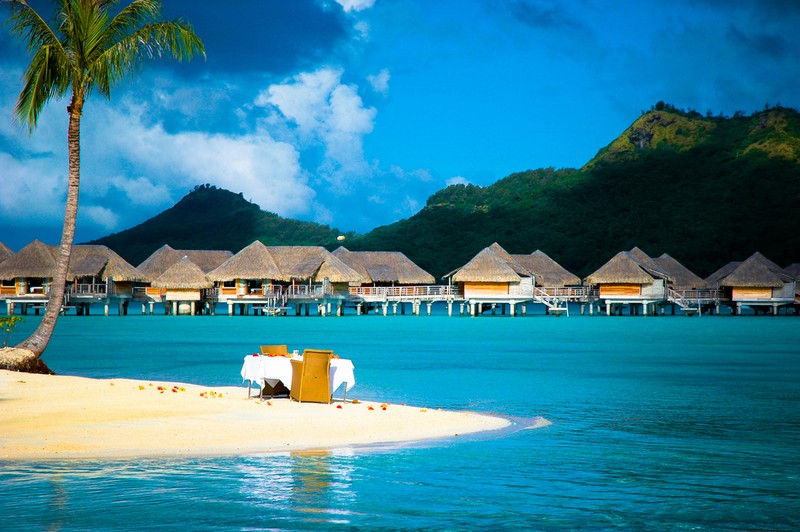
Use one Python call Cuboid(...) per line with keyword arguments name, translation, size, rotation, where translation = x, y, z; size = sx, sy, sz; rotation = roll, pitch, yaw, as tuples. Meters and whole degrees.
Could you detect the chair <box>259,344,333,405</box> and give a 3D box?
Cuboid(name="chair", translation=(-2.268, 2.506, 20.936), size=(1.535, 1.252, 1.314), rotation=(3, 0, 44))
